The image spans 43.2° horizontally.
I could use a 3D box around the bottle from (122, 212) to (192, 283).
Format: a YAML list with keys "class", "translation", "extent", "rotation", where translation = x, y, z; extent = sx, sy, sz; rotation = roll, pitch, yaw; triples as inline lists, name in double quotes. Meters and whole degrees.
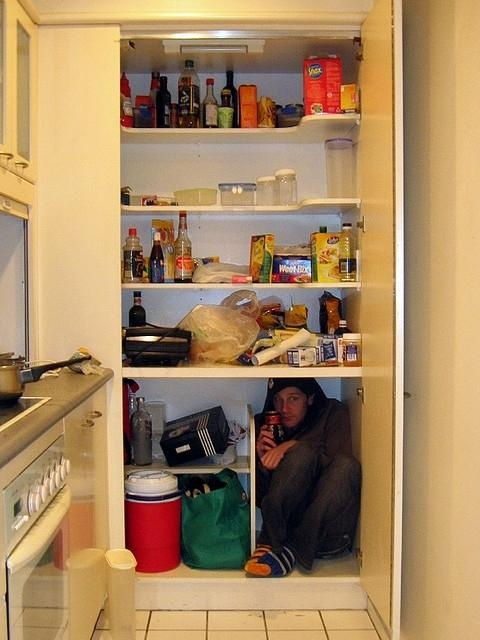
- class: "bottle"
  translation: [-0.317, -0.271, 2.427]
  extent: [0.255, 0.280, 0.272]
  rotation: [0, -1, -4]

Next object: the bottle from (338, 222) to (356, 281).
- class: "bottle"
  translation: [0.409, -0.254, 2.294]
  extent: [0.068, 0.213, 0.088]
  rotation: [-4, 7, 11]

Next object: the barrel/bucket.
- class: "barrel/bucket"
  translation: [-0.313, 0.766, 2.263]
  extent: [0.229, 0.323, 0.236]
  rotation: [-2, -9, 0]

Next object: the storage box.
- class: "storage box"
  translation: [-0.176, 0.452, 2.371]
  extent: [0.218, 0.149, 0.119]
  rotation: [-7, -12, -5]

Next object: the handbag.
- class: "handbag"
  translation: [-0.103, 0.746, 2.295]
  extent: [0.301, 0.311, 0.238]
  rotation: [-8, 11, 2]
